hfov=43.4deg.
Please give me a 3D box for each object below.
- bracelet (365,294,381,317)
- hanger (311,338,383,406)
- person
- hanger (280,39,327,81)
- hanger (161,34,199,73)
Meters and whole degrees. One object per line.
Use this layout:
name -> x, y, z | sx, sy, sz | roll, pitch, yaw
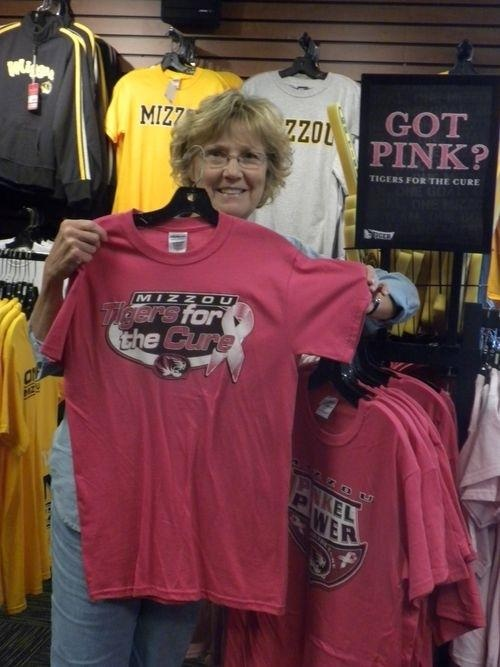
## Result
bracelet -> 0.269, -0.060, 1.367 | 0.038, 0.040, 0.024 | 16, 10, 16
hanger -> 0.253, 0.106, 1.574 | 0.149, 0.194, 0.074 | -10, 11, -32
person -> -0.089, 0.083, 1.525 | 0.845, 1.371, 0.588 | 1, 7, -21
hanger -> 0.246, -1.288, 2.922 | 0.172, 0.181, 0.270 | 5, 33, 6
hanger -> -0.343, -1.331, 3.025 | 0.171, 0.214, 0.279 | 3, 7, -5
